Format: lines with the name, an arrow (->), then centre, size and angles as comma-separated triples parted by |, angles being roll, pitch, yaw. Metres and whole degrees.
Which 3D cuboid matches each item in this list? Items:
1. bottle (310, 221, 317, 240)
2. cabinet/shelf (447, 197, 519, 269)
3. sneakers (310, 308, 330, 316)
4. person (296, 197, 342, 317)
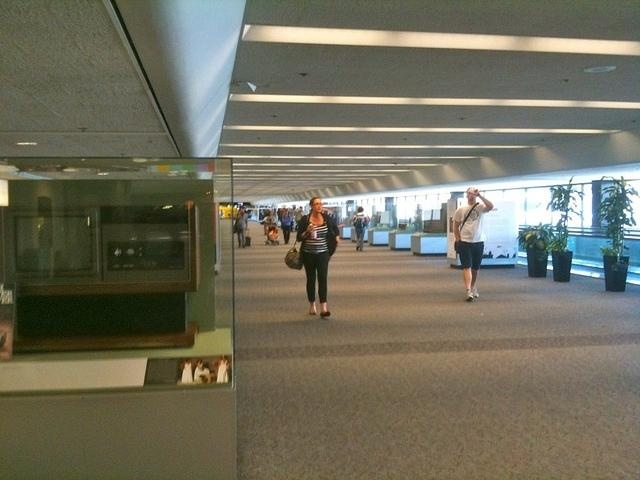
bottle -> -0.135, -0.150, 8.151 | 0.133, 0.267, 0.071 | 0, 3, -1
cabinet/shelf -> 4.857, -0.168, 13.524 | 2.550, 2.348, 1.304 | -1, 2, -1
sneakers -> -0.043, 1.352, 8.604 | 0.432, 0.165, 0.145 | -1, 0, 12
person -> -0.058, 0.313, 8.795 | 0.736, 2.242, 1.435 | 0, 3, 1
